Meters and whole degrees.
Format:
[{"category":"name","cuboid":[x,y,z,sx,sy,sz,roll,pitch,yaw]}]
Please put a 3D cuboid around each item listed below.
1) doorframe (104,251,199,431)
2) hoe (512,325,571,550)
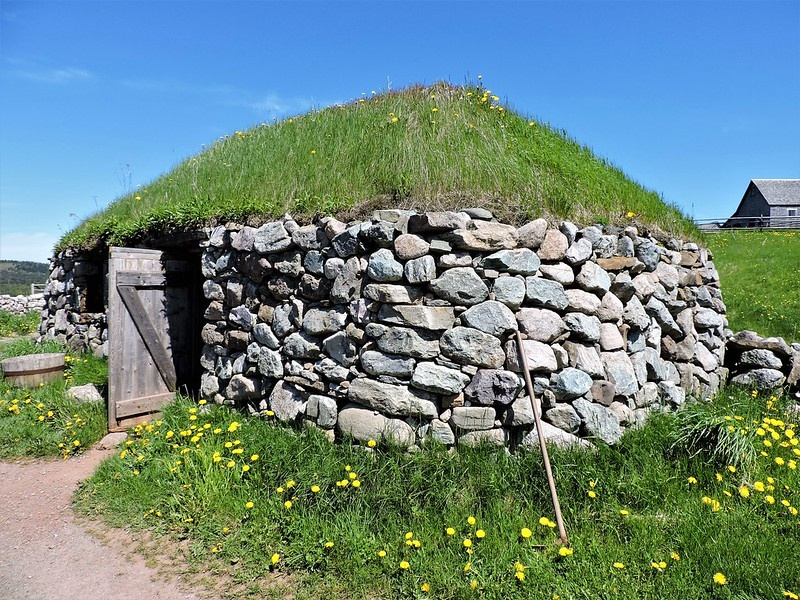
[{"category":"doorframe","cuboid":[-3.445,0.490,8.385,0.163,2.463,1.191,5,5,37]},{"category":"hoe","cuboid":[1.445,1.347,6.202,0.074,2.037,0.324,-3,-15,-23]}]
